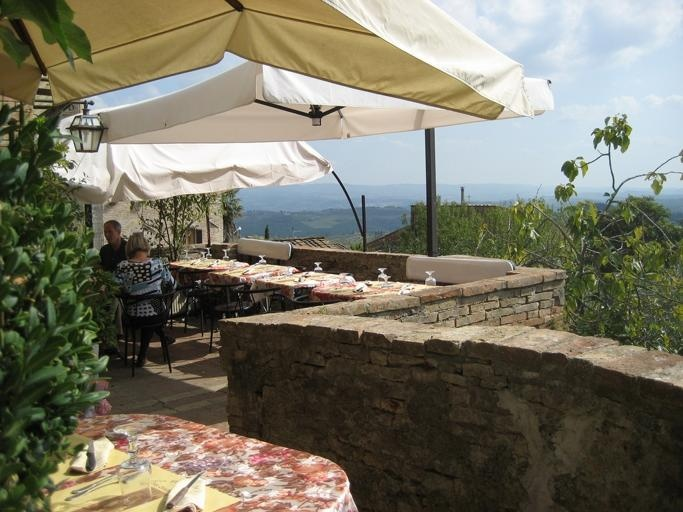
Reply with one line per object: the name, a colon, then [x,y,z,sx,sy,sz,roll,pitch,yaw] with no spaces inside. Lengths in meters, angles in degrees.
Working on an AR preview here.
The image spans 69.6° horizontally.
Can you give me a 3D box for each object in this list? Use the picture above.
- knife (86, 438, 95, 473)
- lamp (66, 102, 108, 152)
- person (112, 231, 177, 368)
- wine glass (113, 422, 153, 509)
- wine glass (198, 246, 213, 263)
knife: [-0.936,0.737,1.827,0.034,0.090,0.121,-4,6,-27]
lamp: [-3.011,-1.520,5.804,0.373,0.555,0.418,-5,15,-37]
person: [-2.448,0.567,6.167,0.695,1.751,0.560,-3,6,-18]
wine glass: [-0.719,0.718,1.699,0.110,0.171,0.233,-4,6,-22]
wine glass: [-2.900,-0.030,10.403,0.325,0.364,0.320,2,0,27]
